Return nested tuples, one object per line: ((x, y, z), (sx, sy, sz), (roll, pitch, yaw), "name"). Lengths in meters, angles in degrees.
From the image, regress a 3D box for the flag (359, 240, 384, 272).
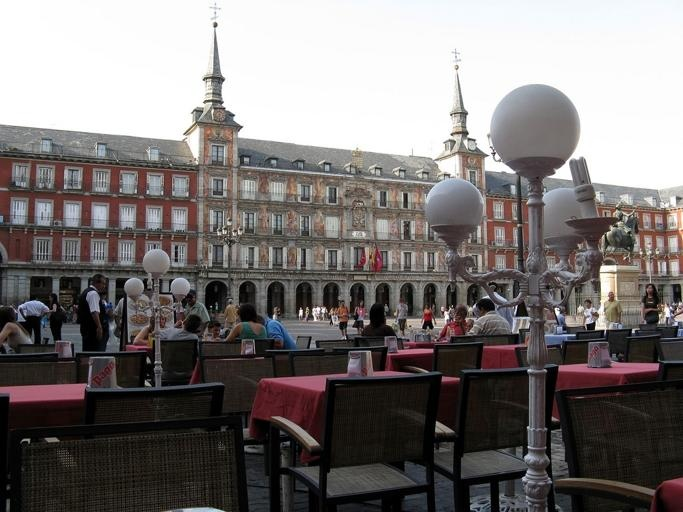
((1.912, 0.052, 58.203), (1.941, 2.278, 0.107), (7, -24, -14), "flag")

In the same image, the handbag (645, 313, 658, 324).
((5.808, 1.186, 16.395), (0.263, 0.275, 0.274), (-2, -4, 16), "handbag")
